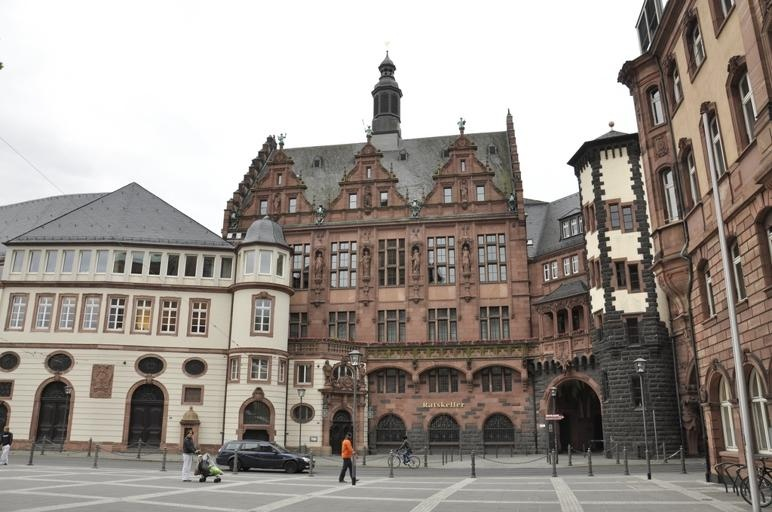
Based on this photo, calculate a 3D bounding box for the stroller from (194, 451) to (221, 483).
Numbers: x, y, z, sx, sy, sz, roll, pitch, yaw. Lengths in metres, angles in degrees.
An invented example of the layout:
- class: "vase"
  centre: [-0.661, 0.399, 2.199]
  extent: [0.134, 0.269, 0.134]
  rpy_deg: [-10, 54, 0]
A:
- class: "stroller"
  centre: [-8.762, 10.523, 33.689]
  extent: [1.545, 1.676, 1.509]
  rpy_deg: [-3, -17, 3]
